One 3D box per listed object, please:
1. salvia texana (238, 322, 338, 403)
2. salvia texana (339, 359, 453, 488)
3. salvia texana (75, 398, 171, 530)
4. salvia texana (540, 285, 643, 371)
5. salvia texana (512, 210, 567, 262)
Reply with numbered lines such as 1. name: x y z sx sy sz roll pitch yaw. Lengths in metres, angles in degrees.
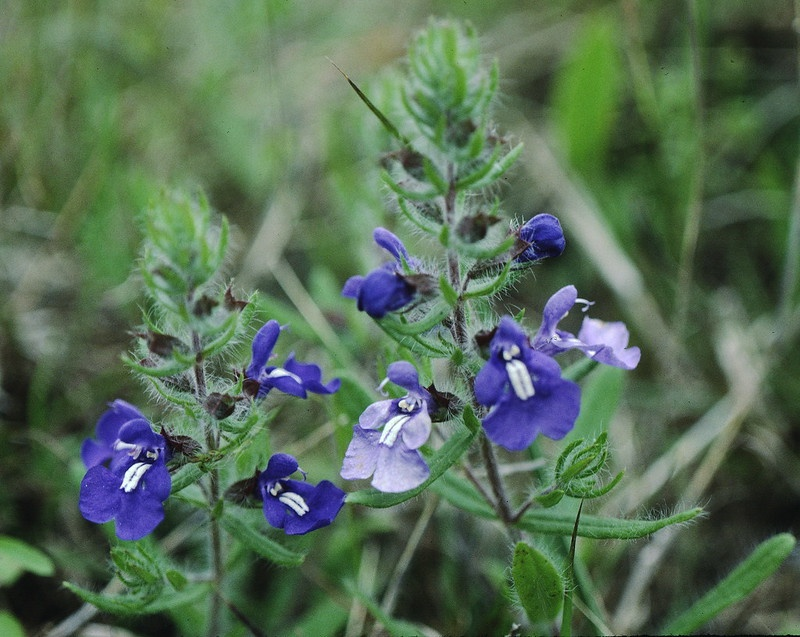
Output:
1. salvia texana: -0.685 0.257 5.281 0.469 0.494 0.211 -10 33 48
2. salvia texana: -0.072 0.547 4.856 0.502 0.455 0.782 0 29 25
3. salvia texana: -1.549 0.896 5.011 0.253 0.506 0.741 -41 32 43
4. salvia texana: 1.142 0.090 5.248 0.610 0.407 0.478 10 18 5
5. salvia texana: 0.810 -0.472 5.031 0.268 0.118 0.260 -14 70 5
